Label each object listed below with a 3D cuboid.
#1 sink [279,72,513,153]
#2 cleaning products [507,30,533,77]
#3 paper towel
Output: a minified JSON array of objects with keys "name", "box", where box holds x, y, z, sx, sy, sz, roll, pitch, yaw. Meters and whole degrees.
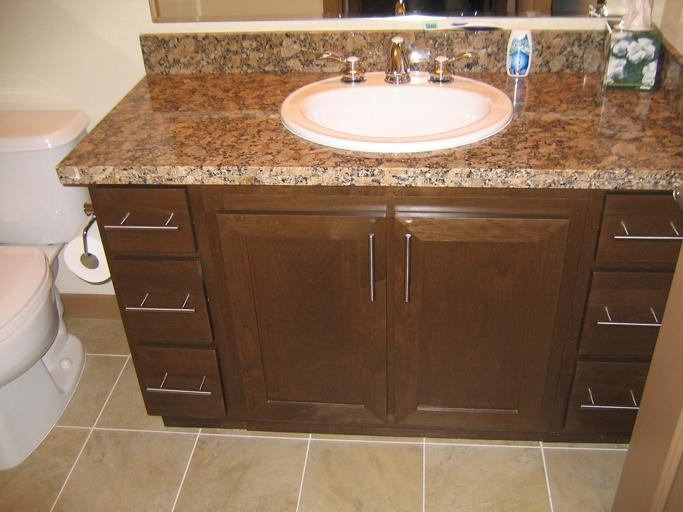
[{"name":"sink","box":[0.150,-0.396,1.616,0.628,0.157,0.497,6,29,14]},{"name":"cleaning products","box":[0.545,-0.619,1.752,0.083,0.139,0.054,0,29,4]},{"name":"paper towel","box":[-0.806,-0.033,1.809,0.122,0.214,0.149,-4,39,-14]}]
